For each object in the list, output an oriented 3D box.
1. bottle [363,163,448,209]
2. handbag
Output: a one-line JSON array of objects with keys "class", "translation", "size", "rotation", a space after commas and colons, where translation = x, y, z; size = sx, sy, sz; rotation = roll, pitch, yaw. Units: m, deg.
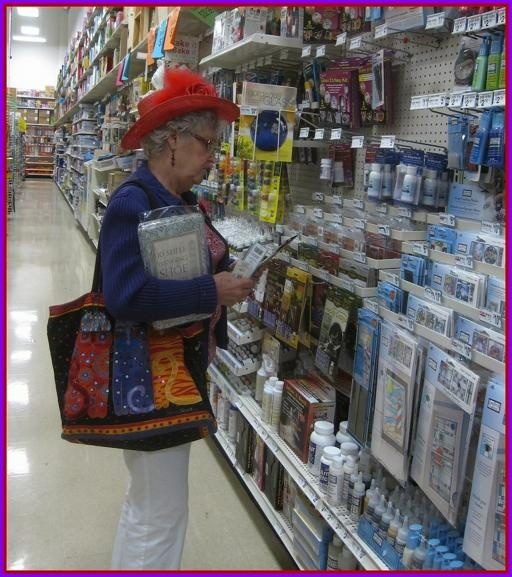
[{"class": "bottle", "translation": [0.476, -0.332, 1.405], "size": [0.162, 0.078, 0.172], "rotation": [2, 12, -1]}, {"class": "handbag", "translation": [-0.356, 0.243, 1.250], "size": [0.450, 0.465, 0.234], "rotation": [-2, 14, -12]}]
